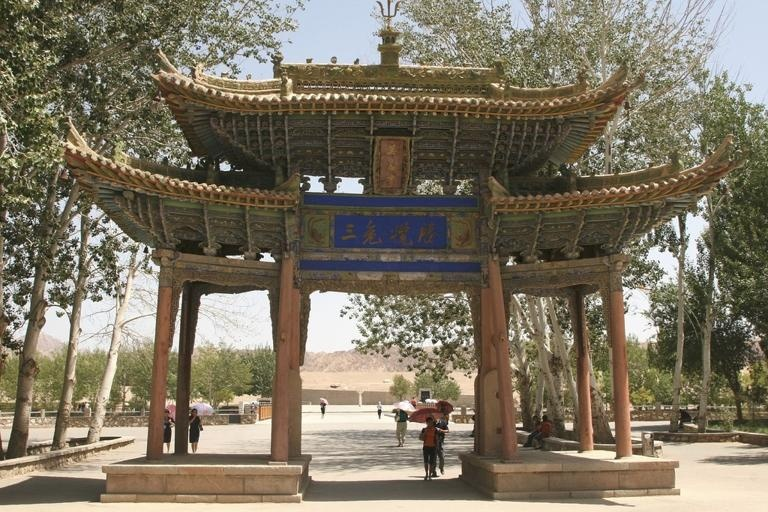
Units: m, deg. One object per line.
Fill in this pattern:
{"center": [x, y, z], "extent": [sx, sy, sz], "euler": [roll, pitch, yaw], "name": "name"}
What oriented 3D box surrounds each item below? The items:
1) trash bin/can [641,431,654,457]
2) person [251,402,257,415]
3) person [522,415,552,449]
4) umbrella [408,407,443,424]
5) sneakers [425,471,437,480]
{"center": [9.130, 6.531, 31.268], "extent": [0.452, 0.888, 2.424], "euler": [-4, -15, 15], "name": "trash bin/can"}
{"center": [-8.679, 10.200, 60.133], "extent": [0.560, 0.855, 0.539], "euler": [1, -11, -10], "name": "person"}
{"center": [5.745, 6.555, 33.836], "extent": [0.858, 1.338, 2.684], "euler": [-2, -14, 8], "name": "person"}
{"center": [1.527, 6.030, 34.003], "extent": [1.074, 0.472, 1.016], "euler": [0, -34, -8], "name": "umbrella"}
{"center": [1.561, 7.438, 30.310], "extent": [0.186, 0.229, 0.567], "euler": [2, -32, 12], "name": "sneakers"}
